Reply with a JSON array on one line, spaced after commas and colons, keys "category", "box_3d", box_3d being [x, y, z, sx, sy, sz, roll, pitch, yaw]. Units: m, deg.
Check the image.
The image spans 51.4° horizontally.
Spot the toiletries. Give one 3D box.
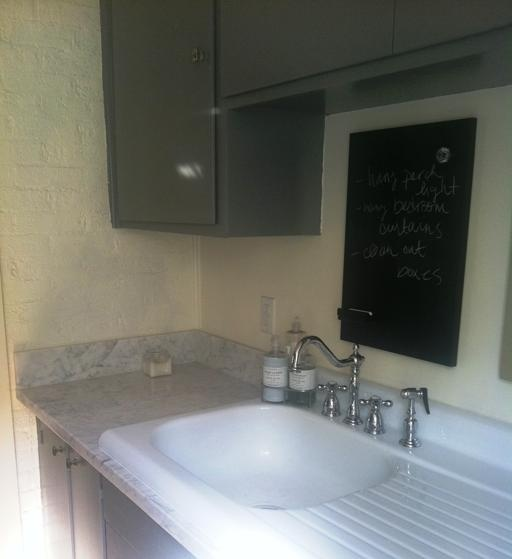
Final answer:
[{"category": "toiletries", "box_3d": [0.092, 0.218, 1.471, 0.108, 0.225, 0.107, 0, 12, -25]}]

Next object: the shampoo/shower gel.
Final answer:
[{"category": "shampoo/shower gel", "box_3d": [0.090, 0.236, 1.487, 0.139, 0.197, 0.113, -5, 9, -44]}]

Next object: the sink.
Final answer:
[{"category": "sink", "box_3d": [-0.023, 0.433, 1.221, 0.465, 0.149, 0.499, -5, 6, -31]}]

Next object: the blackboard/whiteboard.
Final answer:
[{"category": "blackboard/whiteboard", "box_3d": [0.337, -0.092, 1.249, 0.033, 0.547, 0.362, -6, 7, -36]}]
